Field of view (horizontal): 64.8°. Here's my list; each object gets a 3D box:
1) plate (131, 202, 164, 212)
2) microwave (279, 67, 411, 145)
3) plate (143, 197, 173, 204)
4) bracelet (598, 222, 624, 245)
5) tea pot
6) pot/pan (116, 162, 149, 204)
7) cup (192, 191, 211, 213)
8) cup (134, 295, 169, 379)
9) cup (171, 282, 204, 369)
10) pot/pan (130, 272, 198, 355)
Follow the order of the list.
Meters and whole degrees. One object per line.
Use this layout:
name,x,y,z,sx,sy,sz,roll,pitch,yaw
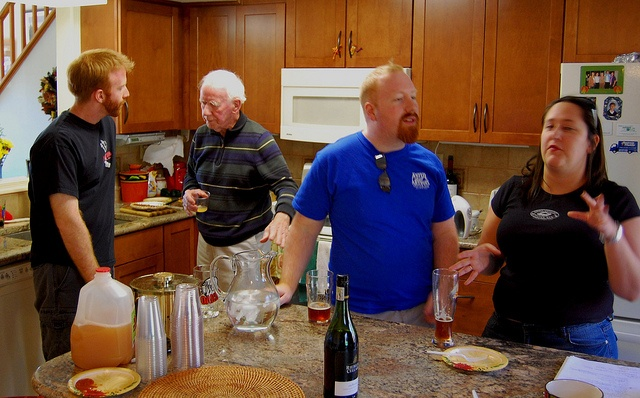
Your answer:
plate,-1.464,0.070,4.297,0.279,0.044,0.205,-2,9,-18
microwave,0.175,-0.786,4.404,1.239,0.742,0.654,3,4,28
plate,-1.465,0.014,4.554,0.247,0.039,0.270,1,9,0
bracelet,1.313,0.152,2.269,0.108,0.071,0.106,1,9,27
tea pot,-0.351,0.394,2.312,0.403,0.371,0.274,0,3,5
pot/pan,-1.689,-0.131,4.570,0.341,0.370,0.331,2,5,17
cup,-0.746,0.024,3.201,0.102,0.108,0.117,1,-1,-4
cup,-0.650,0.533,1.925,0.115,0.342,0.056,-1,10,-12
cup,-0.522,0.500,2.005,0.127,0.339,0.135,2,10,0
pot/pan,-0.635,0.433,2.105,0.336,0.328,0.320,0,9,-5
